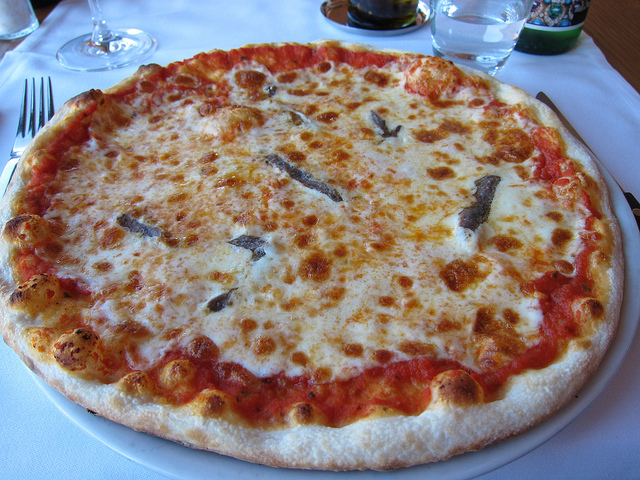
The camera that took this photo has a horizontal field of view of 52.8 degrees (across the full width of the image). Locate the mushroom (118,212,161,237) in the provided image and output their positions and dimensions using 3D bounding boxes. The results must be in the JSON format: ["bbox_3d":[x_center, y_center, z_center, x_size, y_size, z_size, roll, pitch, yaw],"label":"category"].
[{"bbox_3d":[-0.488,-0.038,1.740,0.074,0.023,0.071,29,42,20],"label":"mushroom"}]

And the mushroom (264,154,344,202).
[{"bbox_3d":[-0.045,-0.169,1.819,0.200,0.022,0.040,32,65,14],"label":"mushroom"}]

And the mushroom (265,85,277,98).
[{"bbox_3d":[-0.153,-0.482,2.085,0.034,0.011,0.042,5,63,0],"label":"mushroom"}]

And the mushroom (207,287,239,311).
[{"bbox_3d":[-0.249,0.144,1.600,0.054,0.012,0.030,-28,58,-21],"label":"mushroom"}]

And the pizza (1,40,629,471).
[{"bbox_3d":[-0.023,-0.055,1.765,1.655,0.278,1.302,16,67,8],"label":"pizza"}]
